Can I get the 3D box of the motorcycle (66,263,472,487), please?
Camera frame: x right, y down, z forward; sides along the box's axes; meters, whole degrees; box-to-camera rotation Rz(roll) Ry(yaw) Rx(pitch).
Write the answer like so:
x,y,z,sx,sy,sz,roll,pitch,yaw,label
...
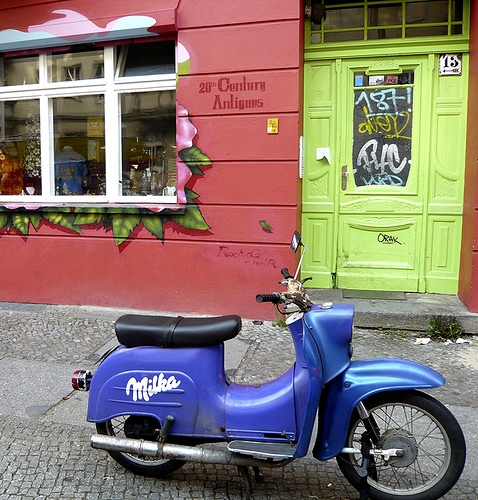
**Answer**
x,y,z,sx,sy,sz,roll,pitch,yaw,label
0.225,0.707,3.626,2.116,1.282,1.345,3,13,16,motorcycle
